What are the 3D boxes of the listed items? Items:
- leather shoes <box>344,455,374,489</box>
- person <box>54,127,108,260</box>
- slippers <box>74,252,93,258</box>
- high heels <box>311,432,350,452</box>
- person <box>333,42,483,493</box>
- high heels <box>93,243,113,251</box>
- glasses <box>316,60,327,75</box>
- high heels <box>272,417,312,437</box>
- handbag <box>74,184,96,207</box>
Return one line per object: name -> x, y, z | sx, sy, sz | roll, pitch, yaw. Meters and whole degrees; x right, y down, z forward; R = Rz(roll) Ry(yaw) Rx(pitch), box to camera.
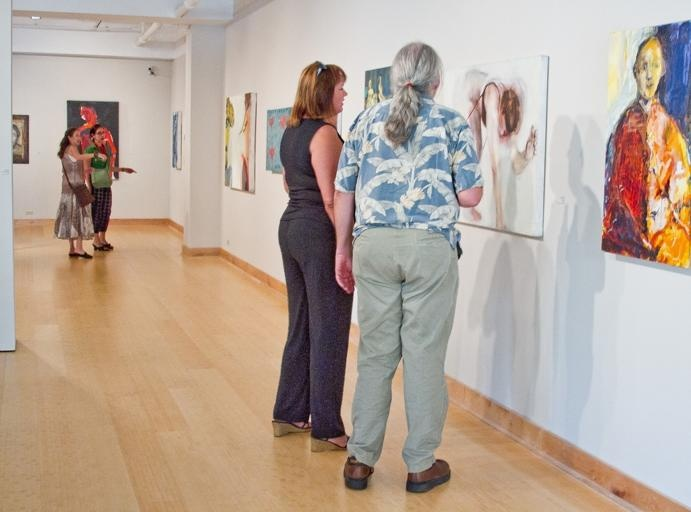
leather shoes -> 0.064, 1.142, 2.890 | 0.163, 0.162, 0.367 | 2, -3, 3
person -> -4.791, -1.131, 9.417 | 0.568, 2.220, 0.816 | -8, 13, -40
slippers -> -4.637, -0.019, 9.401 | 0.310, 0.106, 0.122 | 5, 5, -1
high heels -> -0.097, 1.100, 3.143 | 0.206, 0.092, 0.115 | -2, 3, -11
person -> 0.275, 0.094, 2.649 | 0.725, 2.226, 0.315 | 3, 10, 13
high heels -> -4.634, -0.175, 10.147 | 0.303, 0.112, 0.153 | 0, 6, 24
glasses -> -0.135, -1.029, 2.878 | 0.040, 0.077, 0.024 | 2, -4, -8
high heels -> -0.344, 1.040, 3.325 | 0.196, 0.084, 0.112 | -2, 3, -32
handbag -> -4.681, -1.094, 9.485 | 0.094, 0.357, 0.321 | -6, 8, 30
